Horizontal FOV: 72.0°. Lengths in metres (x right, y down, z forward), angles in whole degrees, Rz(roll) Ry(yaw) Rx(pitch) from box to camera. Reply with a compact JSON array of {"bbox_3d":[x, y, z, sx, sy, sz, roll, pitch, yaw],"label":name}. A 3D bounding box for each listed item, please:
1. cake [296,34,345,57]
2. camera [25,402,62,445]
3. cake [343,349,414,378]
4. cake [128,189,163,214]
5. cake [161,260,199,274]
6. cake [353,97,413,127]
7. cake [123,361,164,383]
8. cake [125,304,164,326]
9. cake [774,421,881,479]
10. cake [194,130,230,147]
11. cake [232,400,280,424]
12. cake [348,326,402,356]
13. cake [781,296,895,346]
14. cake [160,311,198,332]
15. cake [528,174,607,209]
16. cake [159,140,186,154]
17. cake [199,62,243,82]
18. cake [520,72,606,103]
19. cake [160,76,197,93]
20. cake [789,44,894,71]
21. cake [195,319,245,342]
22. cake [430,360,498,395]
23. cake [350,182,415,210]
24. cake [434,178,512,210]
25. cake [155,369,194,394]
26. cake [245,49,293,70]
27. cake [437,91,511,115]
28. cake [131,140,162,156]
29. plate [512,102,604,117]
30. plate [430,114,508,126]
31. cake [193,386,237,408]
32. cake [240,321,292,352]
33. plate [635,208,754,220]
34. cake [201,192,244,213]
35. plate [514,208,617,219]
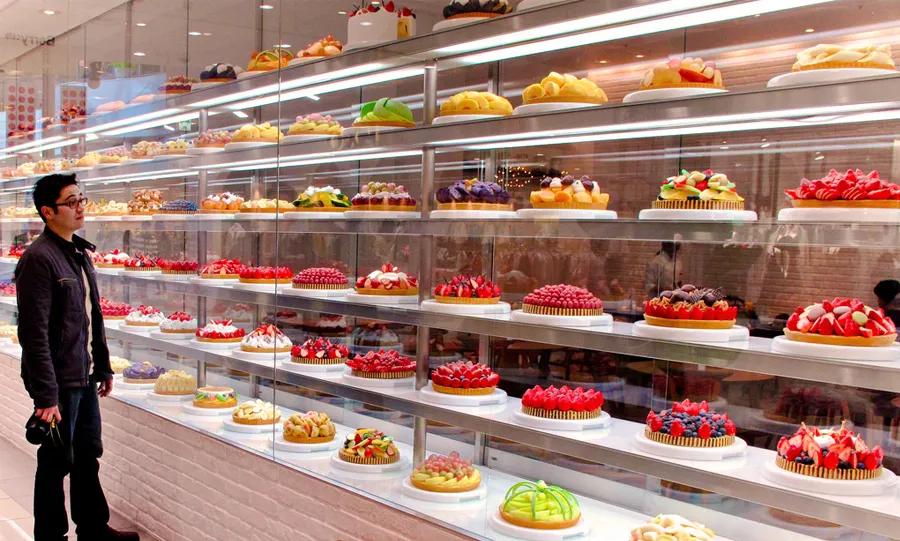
[{"bbox_3d":[-0.793,-1.355,3.796,0.190,0.057,0.173,-10,7,9],"label":"cake"},{"bbox_3d":[-2.576,1.024,3.931,0.136,0.138,0.358,18,-27,-30],"label":"camera"},{"bbox_3d":[-0.425,0.578,3.761,0.240,0.070,0.239,-1,-2,44],"label":"cake"},{"bbox_3d":[-2.589,-0.578,5.253,0.313,0.132,0.230,-2,1,34],"label":"cake"},{"bbox_3d":[-2.174,-0.028,4.994,0.192,0.055,0.176,1,-1,12],"label":"cake"},{"bbox_3d":[-0.381,-0.939,3.677,0.232,0.078,0.214,1,4,6],"label":"cake"},{"bbox_3d":[-2.515,0.835,5.070,0.268,0.098,0.251,2,0,23],"label":"cake"},{"bbox_3d":[-2.549,0.346,5.195,0.260,0.092,0.238,2,-1,1],"label":"cake"},{"bbox_3d":[1.632,0.793,2.692,0.314,0.118,0.289,-2,-2,19],"label":"cake"},{"bbox_3d":[-1.757,-0.941,4.579,0.233,0.068,0.189,0,2,21],"label":"cake"},{"bbox_3d":[-1.281,0.938,4.062,0.245,0.074,0.229,3,2,17],"label":"cake"},{"bbox_3d":[-0.478,0.429,3.898,0.248,0.088,0.228,1,-7,10],"label":"cake"},{"bbox_3d":[1.647,0.182,2.671,0.296,0.104,0.272,-1,2,6],"label":"cake"},{"bbox_3d":[-2.149,0.418,4.915,0.238,0.092,0.228,3,1,-30],"label":"cake"},{"bbox_3d":[0.642,-0.415,3.295,0.300,0.099,0.297,1,0,-1],"label":"cake"},{"bbox_3d":[-2.172,-0.971,4.892,0.191,0.051,0.174,0,1,-2],"label":"cake"},{"bbox_3d":[-1.698,-1.447,4.553,0.236,0.067,0.219,-1,3,-16],"label":"cake"},{"bbox_3d":[0.604,-0.939,3.256,0.277,0.076,0.253,-1,5,-9],"label":"cake"},{"bbox_3d":[-2.108,-1.413,4.831,0.189,0.060,0.189,6,8,42],"label":"cake"},{"bbox_3d":[1.677,-0.911,2.665,0.248,0.067,0.244,-10,13,-33],"label":"cake"},{"bbox_3d":[-1.687,0.452,4.530,0.272,0.105,0.247,1,-2,7],"label":"cake"},{"bbox_3d":[0.046,0.608,3.618,0.345,0.104,0.324,-12,-11,20],"label":"cake"},{"bbox_3d":[-0.415,-0.438,3.748,0.266,0.078,0.241,0,1,40],"label":"cake"},{"bbox_3d":[0.126,-0.422,3.497,0.418,0.166,0.169,-1,7,0],"label":"cake"},{"bbox_3d":[-2.108,0.875,4.748,0.266,0.132,0.244,1,-4,6],"label":"cake"},{"bbox_3d":[-1.207,-1.384,4.097,0.295,0.076,0.278,-2,10,27],"label":"cake"},{"bbox_3d":[0.134,-0.943,3.491,0.417,0.157,0.145,0,7,7],"label":"cake"},{"bbox_3d":[-2.515,-1.004,5.119,0.187,0.061,0.198,-2,4,1],"label":"cake"},{"bbox_3d":[0.550,-0.839,3.209,0.484,0.066,0.150,3,7,30],"label":"plate"},{"bbox_3d":[0.103,-0.843,3.449,0.471,0.056,0.112,3,8,31],"label":"plate"},{"bbox_3d":[-1.700,0.888,4.444,0.228,0.077,0.222,6,-5,-35],"label":"cake"},{"bbox_3d":[-1.184,0.416,4.070,0.286,0.116,0.265,1,-2,16],"label":"cake"},{"bbox_3d":[1.134,-0.260,2.870,0.503,0.057,0.124,2,7,23],"label":"plate"},{"bbox_3d":[-1.657,-0.486,4.519,0.236,0.074,0.239,2,1,16],"label":"cake"},{"bbox_3d":[0.611,-0.293,3.197,0.529,0.059,0.145,4,8,37],"label":"plate"}]
